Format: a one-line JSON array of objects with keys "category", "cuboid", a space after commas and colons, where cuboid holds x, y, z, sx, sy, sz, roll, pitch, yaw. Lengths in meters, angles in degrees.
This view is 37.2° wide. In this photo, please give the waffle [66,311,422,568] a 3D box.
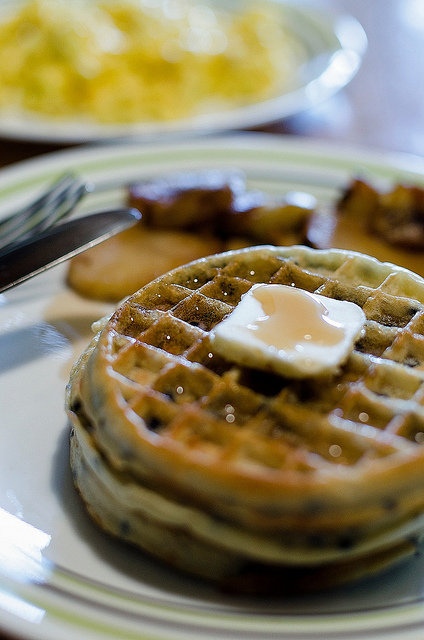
[{"category": "waffle", "cuboid": [-0.007, 0.192, 0.772, 0.486, 0.133, 0.145, 16, 39, 22]}]
